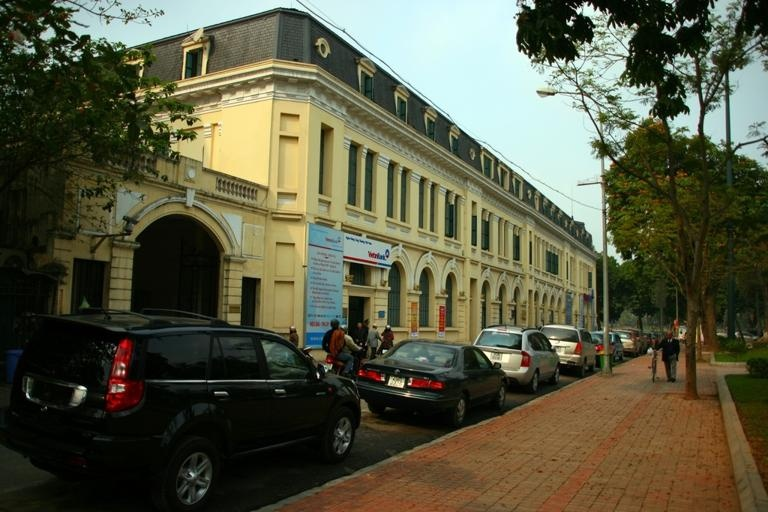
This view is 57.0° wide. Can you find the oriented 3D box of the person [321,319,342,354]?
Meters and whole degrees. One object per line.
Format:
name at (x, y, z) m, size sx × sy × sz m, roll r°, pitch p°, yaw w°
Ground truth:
person at (-1.454, 2.248, 19.978) m, size 0.710 × 0.964 × 0.950 m, roll 1°, pitch -10°, yaw 6°
